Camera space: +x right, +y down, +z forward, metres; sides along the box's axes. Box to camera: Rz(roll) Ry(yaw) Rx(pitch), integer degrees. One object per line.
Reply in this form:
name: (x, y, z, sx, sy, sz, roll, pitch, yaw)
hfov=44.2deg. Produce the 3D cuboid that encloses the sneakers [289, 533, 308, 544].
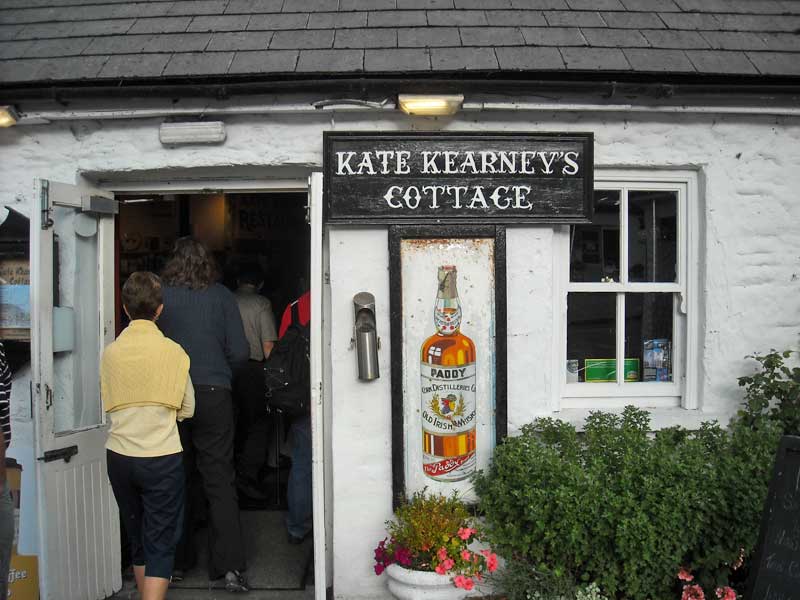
sneakers: (-0.855, 1.991, 8.263, 0.087, 0.046, 0.122, 2, 3, -7)

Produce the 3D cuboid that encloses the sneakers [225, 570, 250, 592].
sneakers: (-1.265, 2.174, 7.620, 0.103, 0.117, 0.239, -5, -36, 2)

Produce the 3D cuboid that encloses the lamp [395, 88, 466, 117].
lamp: (0.224, -1.472, 7.393, 0.488, 0.151, 0.251, 1, -2, 6)
